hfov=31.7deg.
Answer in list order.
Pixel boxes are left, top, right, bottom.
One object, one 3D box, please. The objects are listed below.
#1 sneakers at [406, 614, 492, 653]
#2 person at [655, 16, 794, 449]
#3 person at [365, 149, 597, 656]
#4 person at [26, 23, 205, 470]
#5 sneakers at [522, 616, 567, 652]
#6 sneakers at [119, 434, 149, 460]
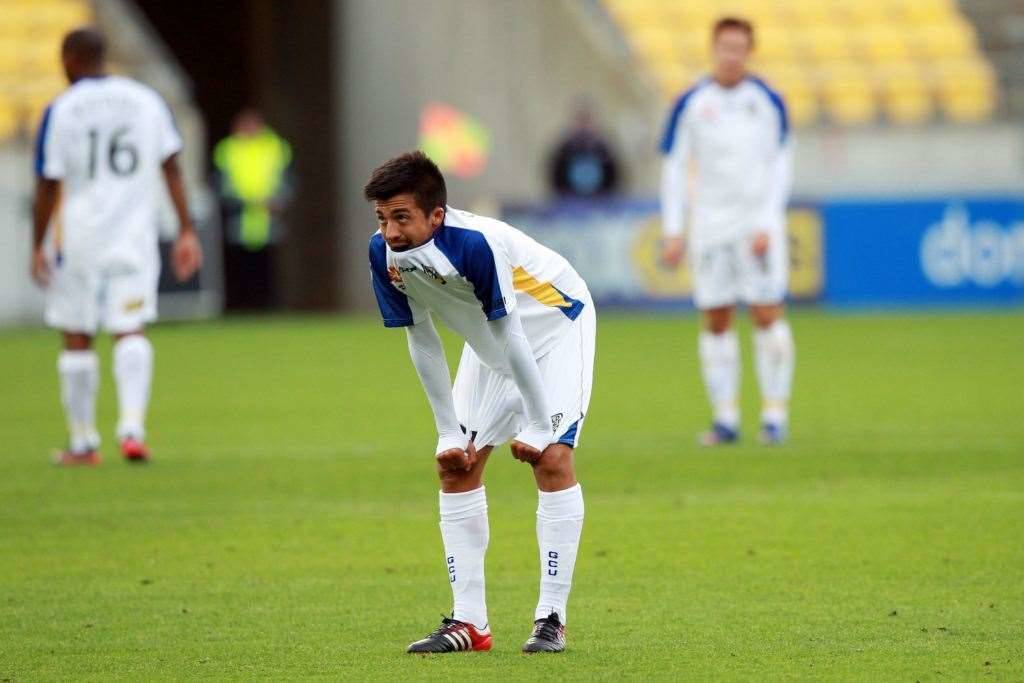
[{"bbox_3d":[-0.313,1.519,9.358,0.465,0.189,0.164,2,-6,-7],"label":"sneakers"},{"bbox_3d":[1.448,-0.742,12.092,0.968,2.766,0.770,5,14,26],"label":"person"},{"bbox_3d":[-0.133,0.269,9.394,1.168,2.509,0.880,-2,13,-3],"label":"person"},{"bbox_3d":[-2.631,-0.444,11.805,0.962,2.503,0.680,-4,13,-15],"label":"person"},{"bbox_3d":[0.170,1.482,9.247,0.221,0.169,0.134,0,12,2],"label":"sneakers"},{"bbox_3d":[-2.466,0.696,11.793,0.171,0.195,0.130,-6,14,-22],"label":"sneakers"}]
